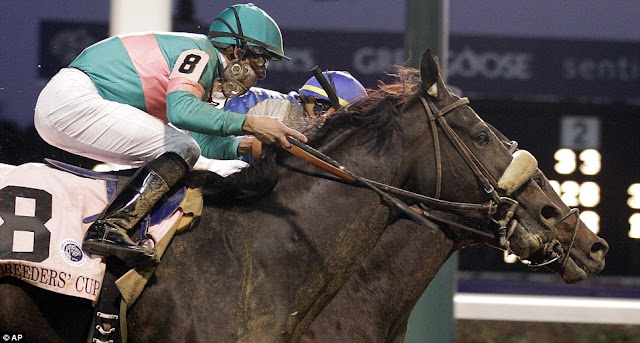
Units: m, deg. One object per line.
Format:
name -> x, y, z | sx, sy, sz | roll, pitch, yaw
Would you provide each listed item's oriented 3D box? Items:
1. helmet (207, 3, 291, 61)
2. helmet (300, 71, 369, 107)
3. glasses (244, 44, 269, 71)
helmet -> -0.611, -1.209, 8.848 | 0.699, 0.344, 0.462 | 4, 2, -5
helmet -> 0.106, -0.816, 9.909 | 0.756, 0.309, 0.481 | 10, 4, -24
glasses -> -0.549, -0.982, 8.861 | 0.237, 0.174, 0.172 | 29, -1, -3
